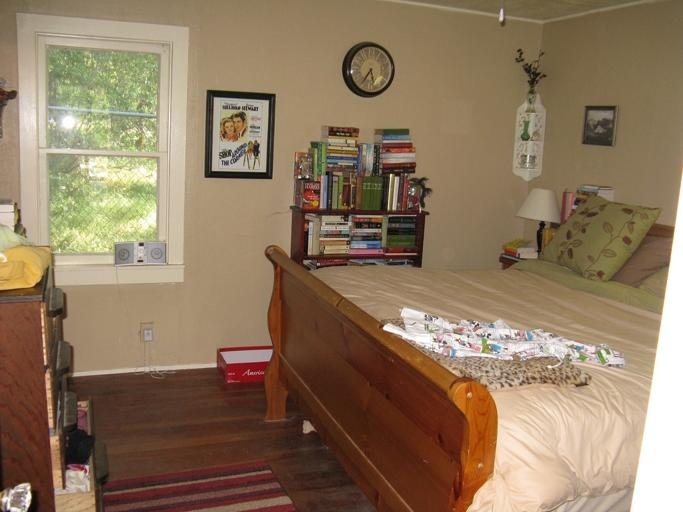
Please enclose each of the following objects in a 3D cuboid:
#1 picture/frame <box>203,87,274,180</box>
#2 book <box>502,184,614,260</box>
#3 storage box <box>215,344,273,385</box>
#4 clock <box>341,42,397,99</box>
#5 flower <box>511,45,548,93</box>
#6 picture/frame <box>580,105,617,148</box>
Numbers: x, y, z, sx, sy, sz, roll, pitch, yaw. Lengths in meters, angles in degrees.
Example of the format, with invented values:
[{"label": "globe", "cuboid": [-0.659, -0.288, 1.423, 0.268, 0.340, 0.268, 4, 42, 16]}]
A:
[{"label": "picture/frame", "cuboid": [-0.830, -0.987, 4.043, 0.700, 0.890, 0.058, 0, 10, -20]}, {"label": "book", "cuboid": [1.700, -0.274, 4.026, 0.318, 0.560, 0.566, 29, 23, 29]}, {"label": "storage box", "cuboid": [-0.754, 0.849, 4.009, 0.330, 0.115, 0.316, -1, 7, -13]}, {"label": "clock", "cuboid": [0.220, -1.531, 4.270, 0.434, 0.428, 0.069, -2, 14, -18]}, {"label": "flower", "cuboid": [1.721, -1.689, 4.798, 0.353, 0.511, 0.354, -1, 3, 4]}, {"label": "picture/frame", "cuboid": [2.113, -1.064, 4.223, 0.029, 0.315, 0.334, -3, 14, -21]}]
